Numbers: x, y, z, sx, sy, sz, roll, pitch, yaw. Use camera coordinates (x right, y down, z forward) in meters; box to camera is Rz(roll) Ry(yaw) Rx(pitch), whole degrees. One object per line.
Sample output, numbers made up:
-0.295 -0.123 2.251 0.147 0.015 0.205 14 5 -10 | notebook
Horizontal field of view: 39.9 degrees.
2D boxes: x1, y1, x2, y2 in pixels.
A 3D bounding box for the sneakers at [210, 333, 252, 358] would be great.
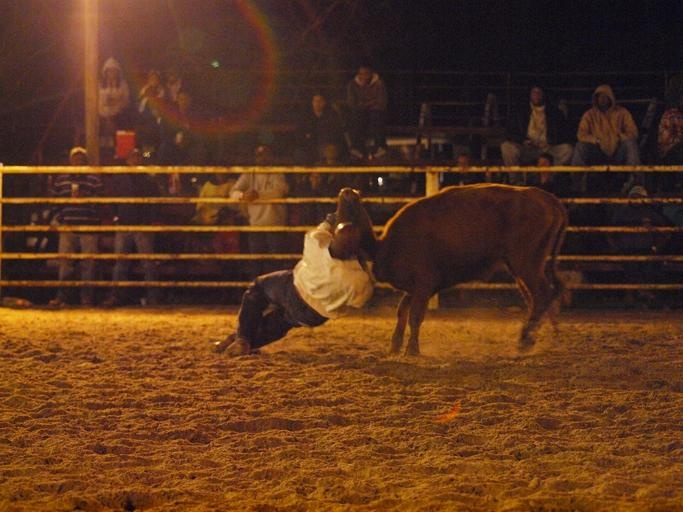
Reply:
-1.327 1.104 11.582 0.205 0.276 0.584 5 0 -44 | sneakers
